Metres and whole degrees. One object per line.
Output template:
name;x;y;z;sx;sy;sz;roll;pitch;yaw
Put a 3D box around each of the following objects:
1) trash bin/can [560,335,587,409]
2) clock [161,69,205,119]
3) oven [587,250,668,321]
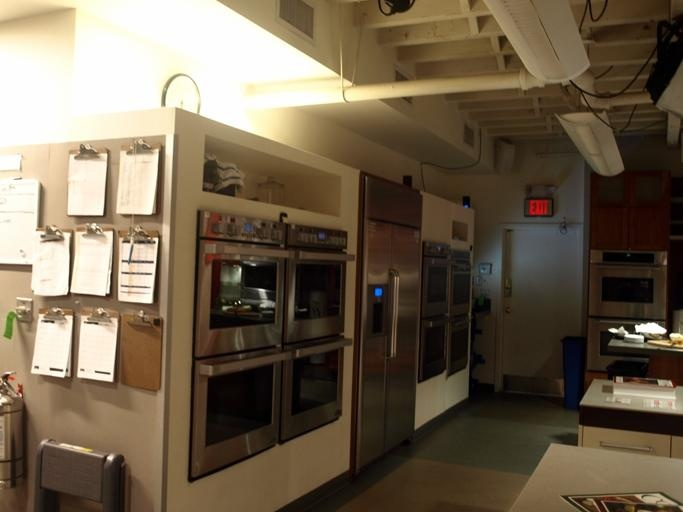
trash bin/can;2.898;1.445;6.762;0.273;0.909;0.285;2;1;21
clock;-1.066;-1.116;3.650;0.221;0.342;0.522;1;1;-13
oven;3.552;0.294;6.725;0.844;0.925;0.636;1;16;31
